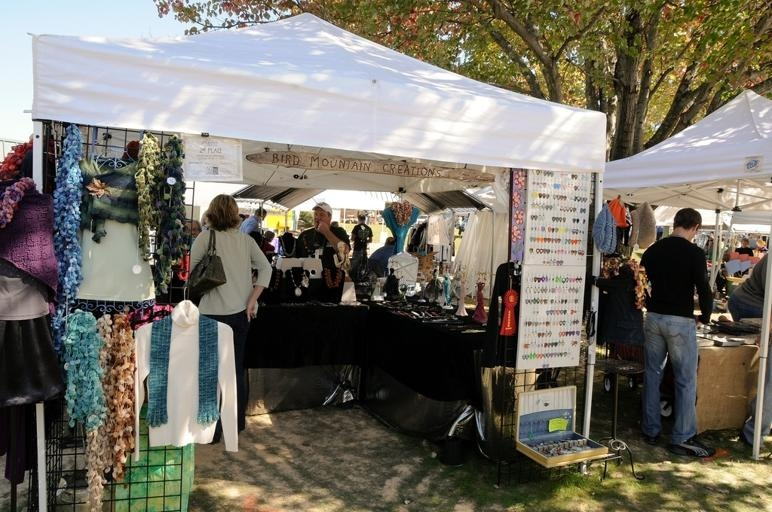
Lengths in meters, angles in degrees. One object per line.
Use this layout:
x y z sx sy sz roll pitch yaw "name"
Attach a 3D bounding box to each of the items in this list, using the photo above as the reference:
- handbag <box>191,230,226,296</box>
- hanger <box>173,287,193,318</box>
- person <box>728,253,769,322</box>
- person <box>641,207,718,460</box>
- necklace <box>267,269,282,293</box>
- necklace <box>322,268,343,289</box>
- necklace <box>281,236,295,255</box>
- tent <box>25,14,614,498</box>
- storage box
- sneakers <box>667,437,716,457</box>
-1.565 0.022 5.513 0.222 0.515 0.530 2 -13 -22 "handbag"
-1.681 0.378 5.036 0.219 0.269 0.157 -1 0 -12 "hanger"
4.411 0.372 7.451 0.344 0.305 1.045 -1 -23 23 "person"
2.852 0.729 6.025 0.805 2.378 0.518 9 15 29 "person"
-1.190 0.263 6.568 0.157 0.211 0.219 4 -17 -10 "necklace"
-0.599 0.251 6.792 0.190 0.221 0.108 2 -2 -12 "necklace"
-1.162 -0.134 7.203 0.219 0.258 0.149 -1 5 -32 "necklace"
-0.876 -0.141 5.938 3.533 2.556 3.737 3 6 -20 "tent"
1.492 1.521 5.780 0.998 0.701 0.764 3 0 -22 "storage box"
2.995 1.875 6.046 0.461 0.206 0.168 -1 1 1 "sneakers"
